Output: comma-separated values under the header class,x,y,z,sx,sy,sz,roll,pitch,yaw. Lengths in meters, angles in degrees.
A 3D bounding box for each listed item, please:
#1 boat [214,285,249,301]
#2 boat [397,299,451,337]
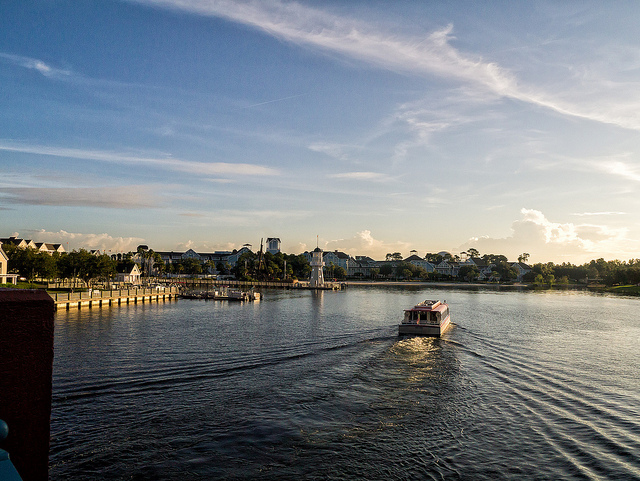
class,x,y,z,sx,sy,sz,roll,pitch,yaw
boat,-15.936,10.201,88.668,4.339,1.754,3.146,0,-3,22
boat,11.446,8.218,51.206,4.166,3.034,11.870,1,-1,20
